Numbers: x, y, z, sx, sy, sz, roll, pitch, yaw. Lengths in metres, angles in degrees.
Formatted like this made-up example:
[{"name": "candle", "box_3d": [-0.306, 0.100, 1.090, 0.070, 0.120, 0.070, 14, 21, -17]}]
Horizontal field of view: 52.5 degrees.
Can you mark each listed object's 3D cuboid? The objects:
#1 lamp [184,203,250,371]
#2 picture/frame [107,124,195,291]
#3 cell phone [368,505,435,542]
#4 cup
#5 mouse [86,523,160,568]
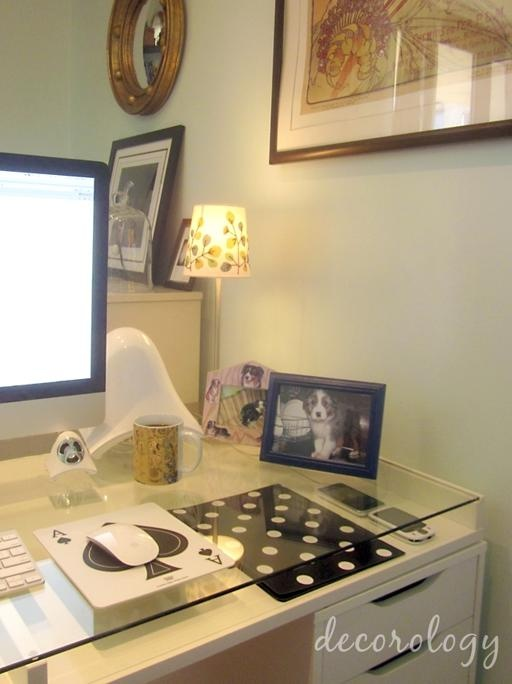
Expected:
[{"name": "lamp", "box_3d": [-0.090, -0.122, 1.260, 0.146, 0.406, 0.301, 3, 4, 1]}, {"name": "picture/frame", "box_3d": [-0.356, -0.429, 1.636, 0.205, 0.516, 0.522, 1, 4, -16]}, {"name": "cell phone", "box_3d": [0.207, 0.239, 0.699, 0.044, 0.012, 0.061, -6, 13, -39]}, {"name": "cup", "box_3d": [-0.159, 0.174, 0.829, 0.126, 0.095, 0.078, 4, -3, -17]}, {"name": "mouse", "box_3d": [-0.140, 0.218, 0.564, 0.053, 0.014, 0.091, -1, 6, -42]}]
